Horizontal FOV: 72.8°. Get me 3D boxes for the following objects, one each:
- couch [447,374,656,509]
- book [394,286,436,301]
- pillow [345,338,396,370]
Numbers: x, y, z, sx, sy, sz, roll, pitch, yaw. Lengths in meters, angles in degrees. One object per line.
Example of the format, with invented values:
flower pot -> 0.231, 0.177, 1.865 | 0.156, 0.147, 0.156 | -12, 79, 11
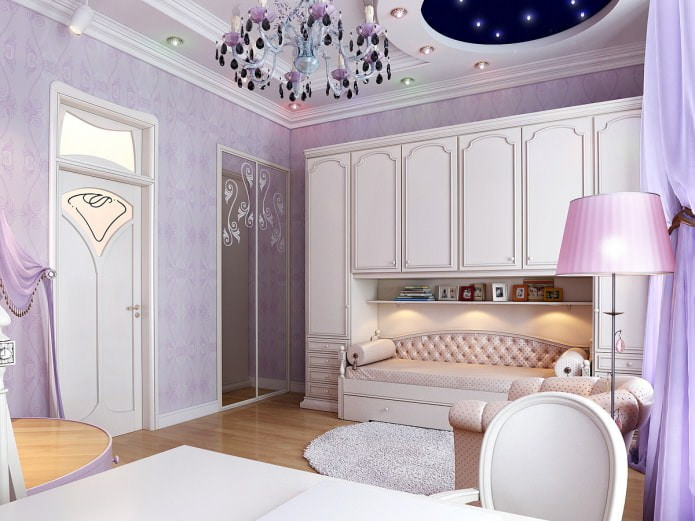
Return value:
couch -> 1.102, 0.687, 2.586 | 0.804, 0.763, 0.823 | -4, -6, 42
book -> 0.757, 0.362, 5.208 | 0.414, 0.161, 0.296 | -1, -2, 12
pillow -> 0.232, 0.978, 4.901 | 0.214, 0.242, 0.504 | -14, -7, 41
